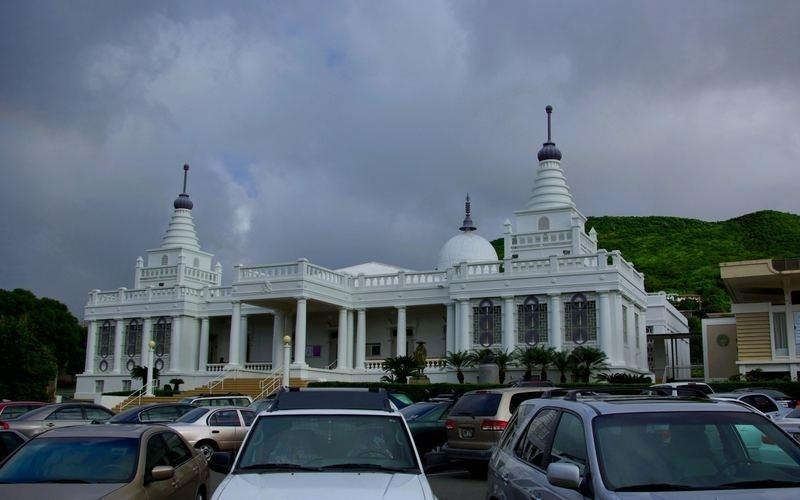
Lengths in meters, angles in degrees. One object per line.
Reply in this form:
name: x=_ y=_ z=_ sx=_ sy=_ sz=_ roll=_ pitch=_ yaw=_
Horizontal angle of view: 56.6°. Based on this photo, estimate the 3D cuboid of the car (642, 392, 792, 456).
car: x=4.533 y=2.337 z=10.559 sx=1.920 sy=0.916 sz=1.096 roll=-2 pitch=-7 yaw=6
